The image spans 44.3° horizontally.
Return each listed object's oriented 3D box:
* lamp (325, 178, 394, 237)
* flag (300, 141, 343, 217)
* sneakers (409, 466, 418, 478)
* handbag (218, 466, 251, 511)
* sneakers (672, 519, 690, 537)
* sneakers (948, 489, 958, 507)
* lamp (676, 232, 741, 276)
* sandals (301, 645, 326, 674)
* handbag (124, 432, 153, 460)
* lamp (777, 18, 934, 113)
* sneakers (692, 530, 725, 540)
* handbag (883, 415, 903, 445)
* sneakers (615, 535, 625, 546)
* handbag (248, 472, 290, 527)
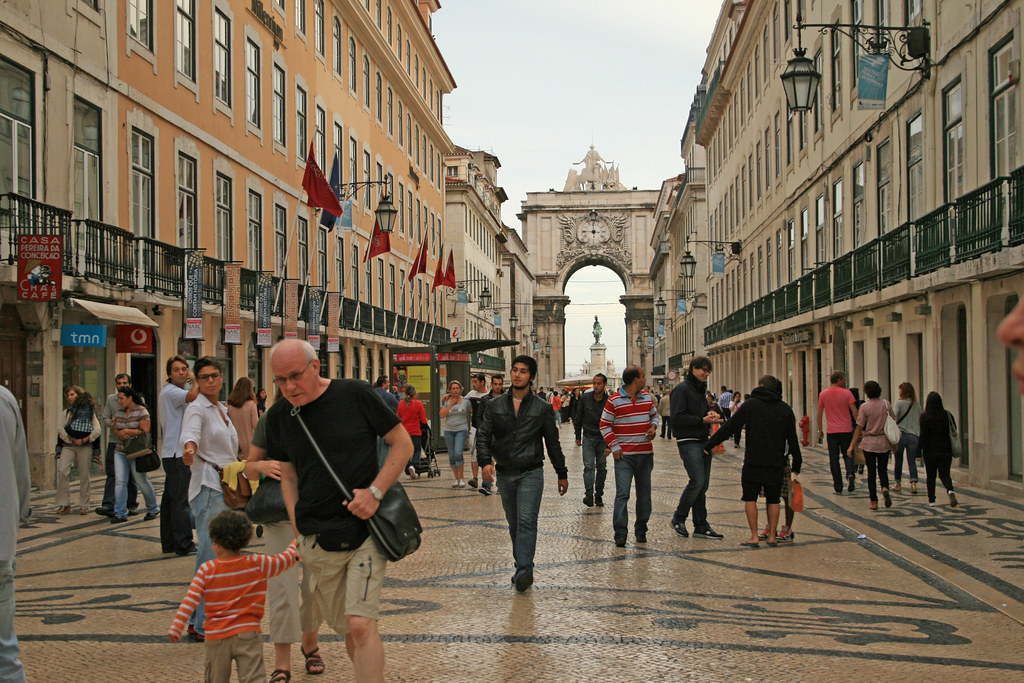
[{"bbox_3d":[-4.367,-3.848,35.807,2.533,1.464,0.638,1,4,36],"label":"lamp"},{"bbox_3d":[-5.222,-4.434,33.640,1.094,2.247,0.235,8,-37,-26],"label":"flag"},{"bbox_3d":[-2.212,2.907,28.230,0.094,0.284,0.190,-27,33,-27],"label":"sneakers"},{"bbox_3d":[-3.289,1.697,14.760,0.590,0.495,0.314,-6,-8,44],"label":"handbag"},{"bbox_3d":[2.586,2.869,19.273,0.137,0.145,0.327,19,12,-38],"label":"sneakers"},{"bbox_3d":[7.755,2.751,22.095,0.093,0.292,0.175,-9,9,2],"label":"sneakers"},{"bbox_3d":[7.632,-3.210,48.230,2.468,1.455,0.558,-1,0,-21],"label":"lamp"},{"bbox_3d":[-2.111,3.389,13.394,0.224,0.257,0.227,1,-6,-4],"label":"sandals"},{"bbox_3d":[-6.258,1.742,20.946,0.347,0.493,0.148,-8,-19,-14],"label":"handbag"},{"bbox_3d":[7.098,-5.686,25.976,2.915,1.821,0.654,9,15,33],"label":"lamp"},{"bbox_3d":[3.006,2.900,19.102,0.409,0.171,0.170,1,-7,8],"label":"sneakers"},{"bbox_3d":[6.890,1.603,22.758,0.197,0.583,0.433,-11,-13,19],"label":"handbag"},{"bbox_3d":[1.584,2.892,18.353,0.094,0.054,0.132,-7,15,4],"label":"sneakers"},{"bbox_3d":[-2.502,1.618,12.949,0.618,0.626,0.262,1,6,6],"label":"handbag"}]
